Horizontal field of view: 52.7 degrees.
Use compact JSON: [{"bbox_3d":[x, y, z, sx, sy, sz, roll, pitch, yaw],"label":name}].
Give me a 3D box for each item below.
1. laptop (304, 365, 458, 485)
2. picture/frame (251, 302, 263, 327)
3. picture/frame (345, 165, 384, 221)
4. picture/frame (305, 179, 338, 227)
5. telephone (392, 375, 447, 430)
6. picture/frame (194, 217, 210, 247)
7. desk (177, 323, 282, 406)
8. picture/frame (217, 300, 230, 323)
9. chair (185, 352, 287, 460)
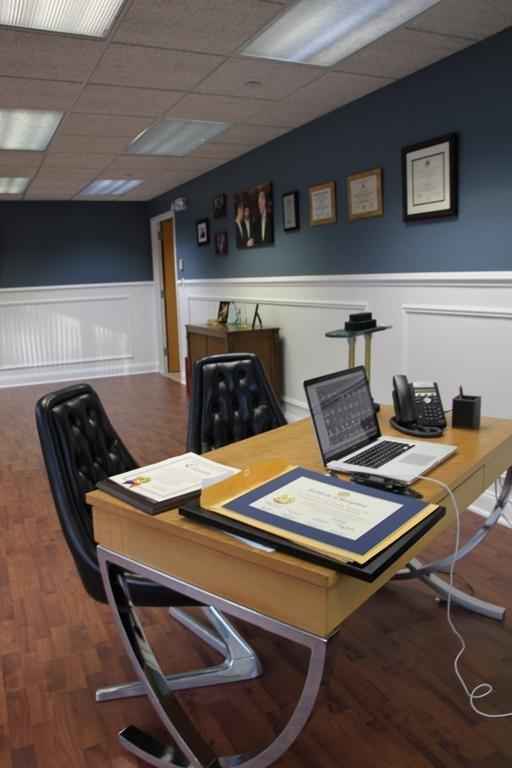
[{"bbox_3d":[0.318,0.095,1.358,0.298,0.248,0.339,5,14,38],"label":"laptop"},{"bbox_3d":[0.004,-0.685,5.048,0.127,0.247,0.231,4,14,4],"label":"picture/frame"},{"bbox_3d":[0.723,-1.271,3.416,0.029,0.395,0.384,-8,13,-27],"label":"picture/frame"},{"bbox_3d":[0.495,-1.368,3.871,0.031,0.425,0.398,-6,10,-25],"label":"picture/frame"},{"bbox_3d":[0.543,0.053,1.743,0.154,0.079,0.225,-7,37,5],"label":"telephone"},{"bbox_3d":[-0.640,-1.815,6.125,0.031,0.407,0.409,-3,8,-25],"label":"picture/frame"},{"bbox_3d":[-0.156,-0.183,3.600,0.316,0.757,0.778,-7,13,-27],"label":"desk"},{"bbox_3d":[-0.352,-0.766,5.490,0.134,0.235,0.276,-2,7,-3],"label":"picture/frame"},{"bbox_3d":[-0.115,0.028,2.385,0.424,0.593,0.398,-10,12,-26],"label":"chair"}]
